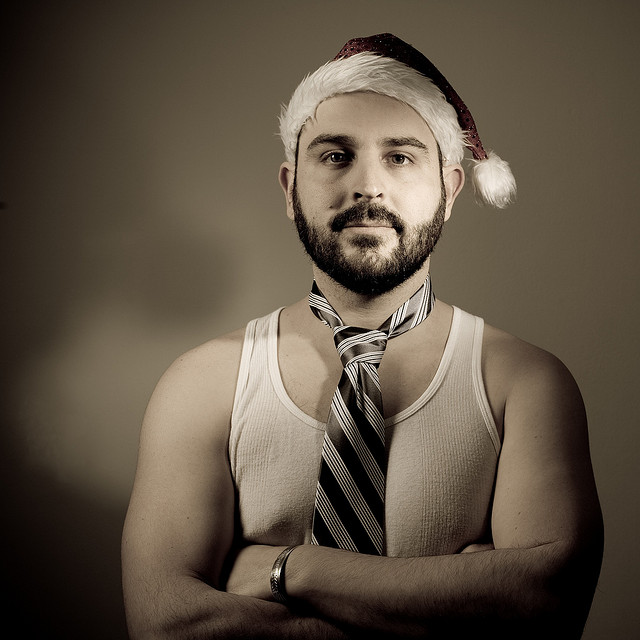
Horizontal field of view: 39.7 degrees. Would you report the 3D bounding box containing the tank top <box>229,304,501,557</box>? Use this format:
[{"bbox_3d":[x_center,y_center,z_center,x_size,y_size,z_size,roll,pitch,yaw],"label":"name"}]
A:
[{"bbox_3d":[0.143,0.269,2.483,0.668,0.964,0.495,0,-16,3],"label":"tank top"}]

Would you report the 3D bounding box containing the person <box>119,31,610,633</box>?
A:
[{"bbox_3d":[0.161,0.047,2.258,1.125,1.568,0.434,11,-13,-5],"label":"person"}]

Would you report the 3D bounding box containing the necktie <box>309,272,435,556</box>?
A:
[{"bbox_3d":[0.128,0.213,2.251,0.241,0.727,0.121,8,-13,5],"label":"necktie"}]
